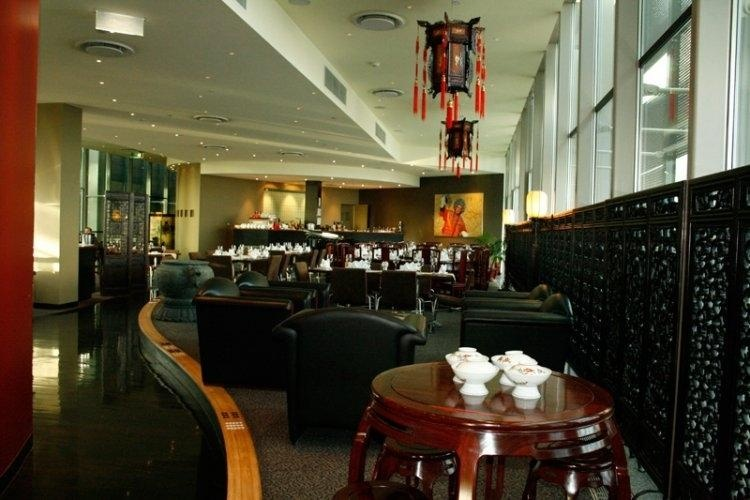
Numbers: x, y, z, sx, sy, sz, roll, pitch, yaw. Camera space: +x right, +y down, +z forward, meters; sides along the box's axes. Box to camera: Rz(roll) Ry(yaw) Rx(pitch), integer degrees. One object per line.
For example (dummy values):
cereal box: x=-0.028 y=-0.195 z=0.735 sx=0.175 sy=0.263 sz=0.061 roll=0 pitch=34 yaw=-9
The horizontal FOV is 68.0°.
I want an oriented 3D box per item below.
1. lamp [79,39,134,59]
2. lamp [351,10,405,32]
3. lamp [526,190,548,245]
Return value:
lamp: x=-4.129 y=-3.086 z=8.499 sx=0.795 sy=0.140 sz=0.642 roll=-2 pitch=8 yaw=-15
lamp: x=0.047 y=-4.024 z=9.715 sx=0.913 sy=0.228 sz=0.513 roll=0 pitch=8 yaw=-2
lamp: x=2.633 y=-0.716 z=9.058 sx=0.316 sy=0.494 sz=0.467 roll=2 pitch=8 yaw=12
